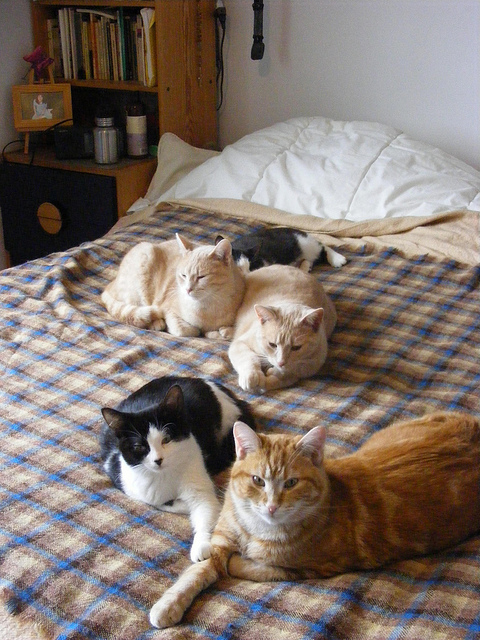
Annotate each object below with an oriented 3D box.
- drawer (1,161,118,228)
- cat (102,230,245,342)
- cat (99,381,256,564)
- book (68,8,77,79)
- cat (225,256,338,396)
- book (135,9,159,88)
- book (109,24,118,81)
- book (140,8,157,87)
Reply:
[{"bbox_3d":[-0.903,-0.669,3.399,0.793,0.365,0.483,6,1,15],"label":"drawer"},{"bbox_3d":[-0.199,-0.128,1.972,0.491,0.301,0.380,12,34,14],"label":"cat"},{"bbox_3d":[-0.143,0.248,1.227,0.347,0.220,0.625,-6,10,-3],"label":"cat"},{"bbox_3d":[-0.956,-1.583,3.331,0.048,0.360,0.019,-7,20,-12],"label":"book"},{"bbox_3d":[0.124,-0.002,1.746,0.363,0.215,0.577,0,22,-7],"label":"cat"},{"bbox_3d":[-0.529,-1.460,3.152,0.109,0.385,0.284,-13,21,-26],"label":"book"},{"bbox_3d":[-0.714,-1.512,3.279,0.025,0.277,0.073,-15,23,-31],"label":"book"},{"bbox_3d":[-0.483,-1.454,3.109,0.106,0.389,0.072,1,20,12],"label":"book"}]
